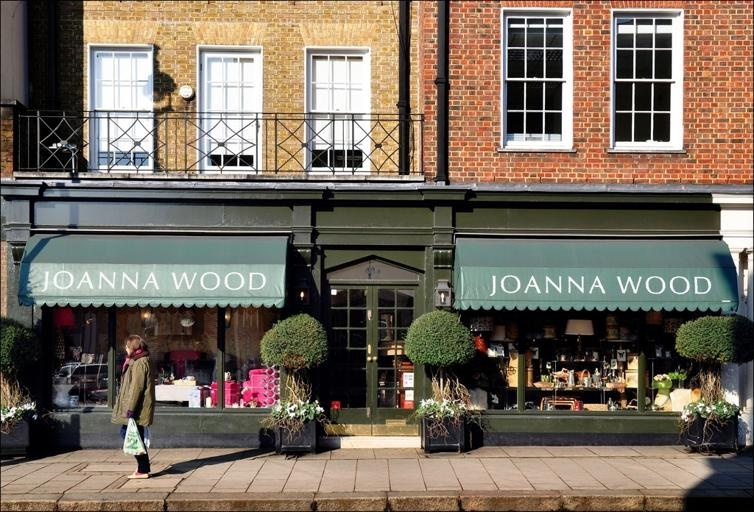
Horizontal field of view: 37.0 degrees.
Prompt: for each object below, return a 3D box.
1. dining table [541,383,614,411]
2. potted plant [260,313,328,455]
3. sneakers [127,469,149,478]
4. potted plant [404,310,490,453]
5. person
[{"bbox_3d":[4.253,2.967,23.838,1.581,0.497,0.308,-3,-8,9],"label":"dining table"},{"bbox_3d":[-1.661,2.597,23.171,1.327,2.832,0.970,-1,-8,-3],"label":"potted plant"},{"bbox_3d":[-4.570,4.113,21.533,0.374,0.143,0.150,3,-5,2],"label":"sneakers"},{"bbox_3d":[1.352,2.542,23.292,1.467,2.886,1.025,-1,-8,-1],"label":"potted plant"},{"bbox_3d":[-4.698,2.866,21.696,0.773,2.706,0.538,1,-8,-14],"label":"person"}]
